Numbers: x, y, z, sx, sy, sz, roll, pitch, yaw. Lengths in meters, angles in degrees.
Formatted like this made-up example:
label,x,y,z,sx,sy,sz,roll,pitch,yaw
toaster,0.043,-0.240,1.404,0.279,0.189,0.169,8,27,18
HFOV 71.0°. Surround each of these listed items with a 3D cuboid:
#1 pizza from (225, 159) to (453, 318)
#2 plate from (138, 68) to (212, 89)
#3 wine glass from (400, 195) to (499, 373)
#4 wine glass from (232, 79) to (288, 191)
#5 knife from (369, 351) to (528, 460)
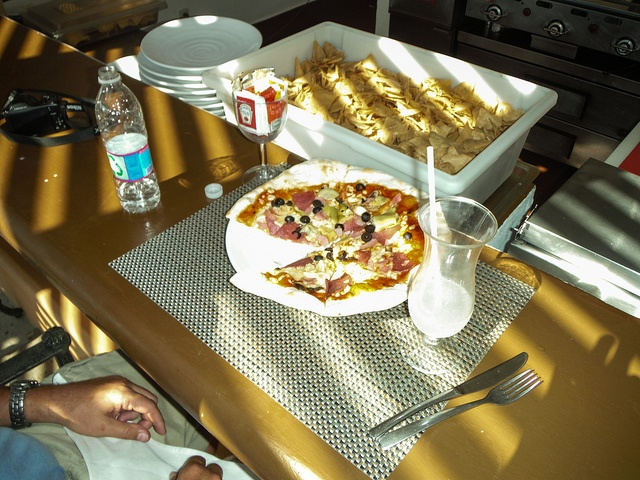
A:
label,x,y,z,sx,sy,sz,roll,pitch,yaw
pizza,0.014,0.001,0.928,0.314,0.036,0.329,-37,62,-26
plate,-0.464,-0.495,1.386,0.116,0.037,0.117,-16,37,-32
wine glass,0.225,0.090,0.781,0.137,0.328,0.135,24,47,26
wine glass,-0.144,-0.246,1.059,0.121,0.258,0.131,20,50,16
knife,0.218,0.256,0.723,0.308,0.030,0.038,-17,52,-18
